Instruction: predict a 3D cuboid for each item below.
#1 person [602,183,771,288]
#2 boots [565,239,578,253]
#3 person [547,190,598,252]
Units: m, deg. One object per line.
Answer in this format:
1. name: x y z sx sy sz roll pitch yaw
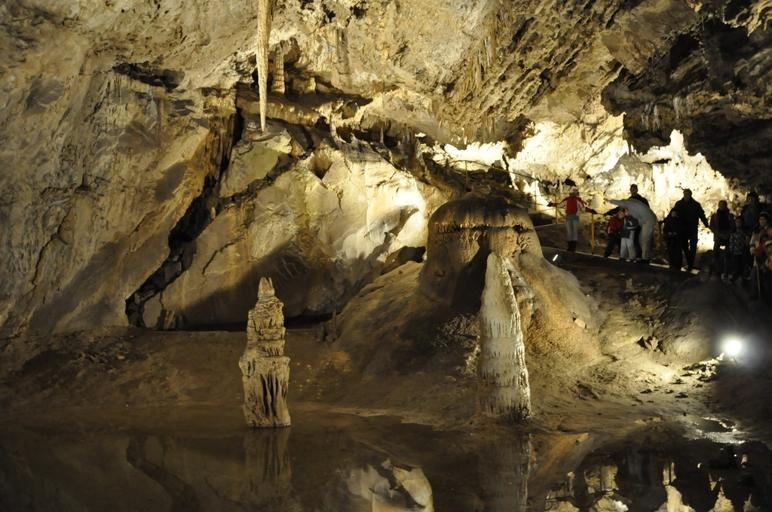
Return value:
1. person: 5.671 -0.497 14.504 2.317 1.527 0.965 6 -7 41
2. boots: 3.951 -0.213 15.930 0.267 0.294 0.267 0 -3 17
3. person: 4.403 -0.788 17.591 1.409 1.589 0.514 7 28 23
